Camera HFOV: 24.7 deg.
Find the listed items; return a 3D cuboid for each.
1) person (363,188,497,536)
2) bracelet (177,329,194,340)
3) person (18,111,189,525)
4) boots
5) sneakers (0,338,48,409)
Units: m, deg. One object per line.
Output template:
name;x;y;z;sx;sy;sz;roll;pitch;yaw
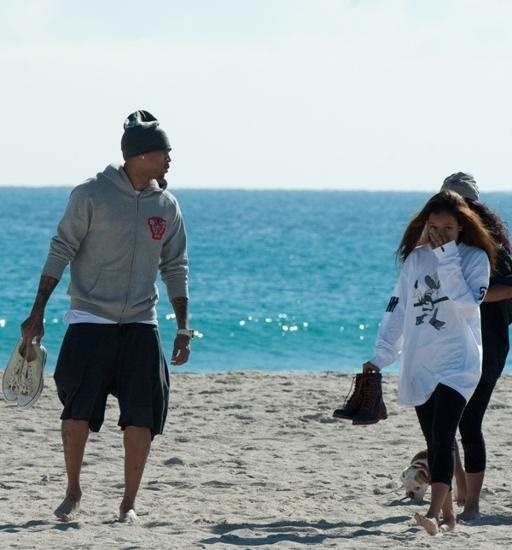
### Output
person;1.067;0.475;6.921;0.593;1.562;0.721;1;1;-29
bracelet;-0.438;0.364;7.300;0.094;0.054;0.095;4;0;6
person;-0.878;0.227;7.148;1.036;2.505;0.391;2;1;-16
boots;0.671;0.753;7.151;0.197;0.305;0.437;-1;-5;36
sneakers;-1.400;0.599;7.124;0.270;0.430;0.157;16;19;7
